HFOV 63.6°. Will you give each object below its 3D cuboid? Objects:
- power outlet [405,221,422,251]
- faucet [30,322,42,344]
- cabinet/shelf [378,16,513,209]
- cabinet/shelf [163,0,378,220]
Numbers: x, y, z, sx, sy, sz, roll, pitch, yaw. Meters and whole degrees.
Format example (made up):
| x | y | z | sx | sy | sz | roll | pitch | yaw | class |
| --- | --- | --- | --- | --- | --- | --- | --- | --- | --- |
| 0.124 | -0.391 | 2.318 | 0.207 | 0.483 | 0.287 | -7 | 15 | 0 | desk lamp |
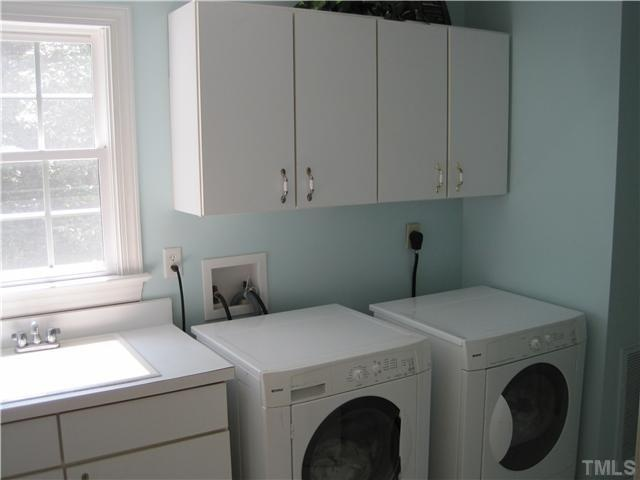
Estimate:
| x | y | z | sx | sy | sz | roll | pitch | yaw | class |
| --- | --- | --- | --- | --- | --- | --- | --- | --- | --- |
| 0.514 | -0.015 | 2.766 | 0.108 | 0.152 | 0.052 | -7 | 10 | -36 | power outlet |
| -1.104 | 0.366 | 2.009 | 0.041 | 0.061 | 0.085 | -3 | 16 | -33 | faucet |
| 0.585 | -0.718 | 2.489 | 0.641 | 0.631 | 0.340 | 3 | 23 | 10 | cabinet/shelf |
| -0.207 | -0.534 | 2.042 | 0.827 | 0.762 | 0.373 | -4 | 9 | -24 | cabinet/shelf |
